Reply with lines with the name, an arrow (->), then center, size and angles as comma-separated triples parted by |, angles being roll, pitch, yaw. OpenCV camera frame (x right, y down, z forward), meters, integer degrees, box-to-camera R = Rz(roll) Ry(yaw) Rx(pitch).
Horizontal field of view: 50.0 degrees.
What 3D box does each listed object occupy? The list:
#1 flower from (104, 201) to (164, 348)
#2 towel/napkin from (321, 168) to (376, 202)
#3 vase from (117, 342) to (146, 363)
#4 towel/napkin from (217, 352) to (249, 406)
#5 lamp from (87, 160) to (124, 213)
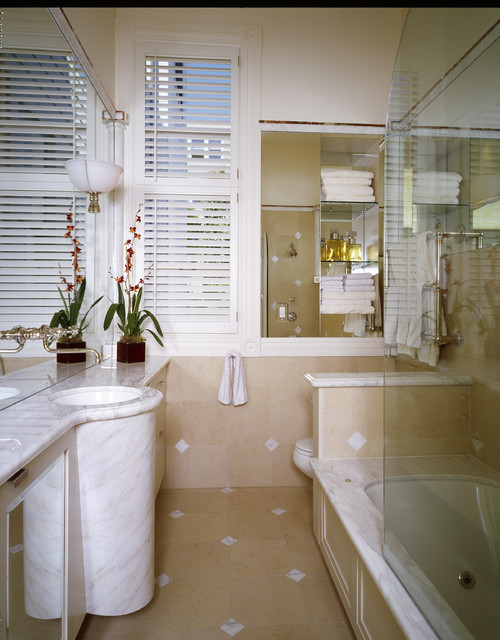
flower -> -0.634, -0.086, 2.819 | 0.366, 0.688, 0.307 | 1, -19, -17
towel/napkin -> 0.546, -0.758, 3.058 | 0.211, 0.113, 0.223 | -3, 15, -11
vase -> -0.593, 0.161, 2.663 | 0.108, 0.113, 0.108 | 0, 7, -10
towel/napkin -> -0.100, 0.319, 2.950 | 0.147, 0.277, 0.083 | 0, 4, -4
lamp -> -0.651, -0.604, 2.392 | 0.196, 0.185, 0.214 | 4, 2, 12
